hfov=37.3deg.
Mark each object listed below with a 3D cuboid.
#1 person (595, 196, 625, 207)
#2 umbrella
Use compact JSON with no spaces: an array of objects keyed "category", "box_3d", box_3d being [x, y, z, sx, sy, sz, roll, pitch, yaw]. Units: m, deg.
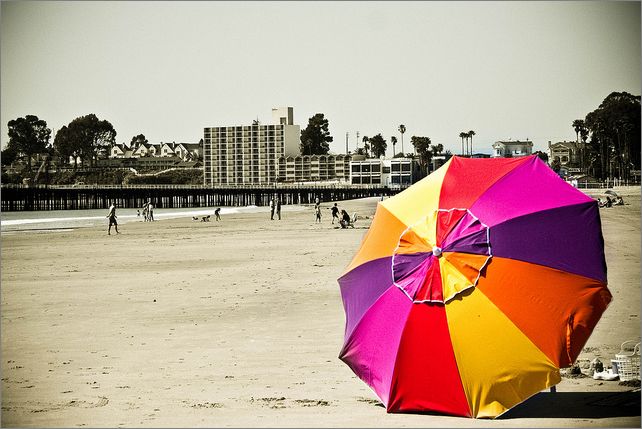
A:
[{"category":"person","box_3d":[14.441,-0.598,47.070,1.040,0.466,0.829,-3,6,-22]},{"category":"umbrella","box_3d":[2.694,1.288,16.599,4.193,4.015,1.625,1,10,12]}]
